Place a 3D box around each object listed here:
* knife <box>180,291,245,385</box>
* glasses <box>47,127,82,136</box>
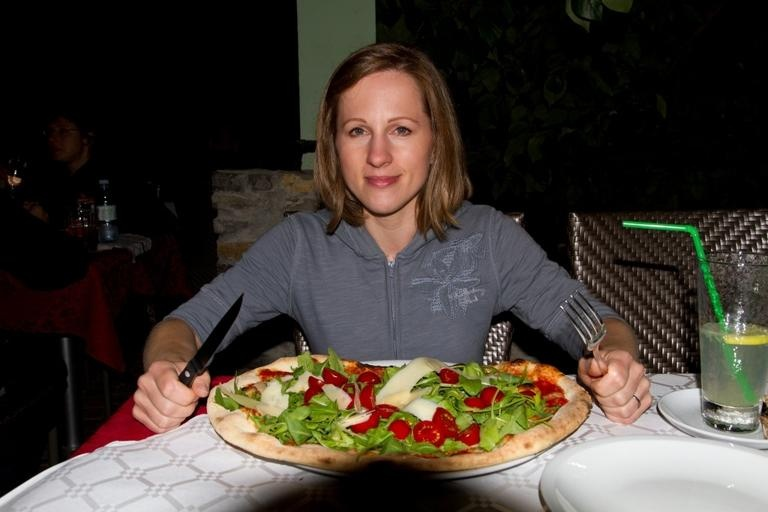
[{"bbox_3d":[-0.525,0.257,1.899,0.069,0.033,0.482,27,33,5],"label":"knife"},{"bbox_3d":[-2.694,-1.049,4.902,0.226,0.070,0.098,-10,19,-23],"label":"glasses"}]
